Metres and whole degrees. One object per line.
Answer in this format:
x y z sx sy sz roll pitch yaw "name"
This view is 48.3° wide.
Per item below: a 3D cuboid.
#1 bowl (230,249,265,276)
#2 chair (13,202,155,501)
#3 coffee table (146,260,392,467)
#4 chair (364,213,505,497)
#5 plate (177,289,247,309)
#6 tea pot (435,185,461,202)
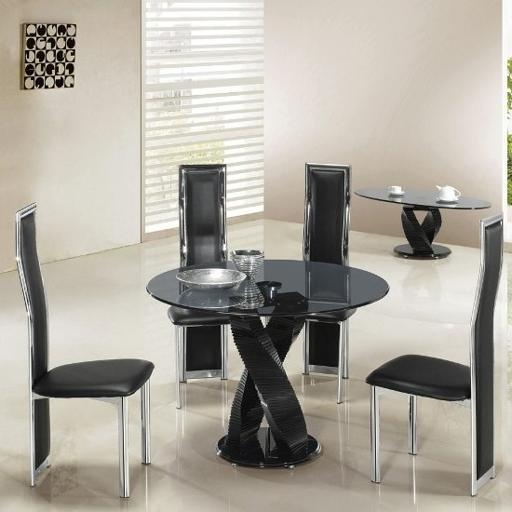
-0.028 0.028 2.246 0.112 0.081 0.111 0 1 0 "bowl"
-0.633 0.331 2.121 0.482 0.981 0.383 1 4 0 "chair"
0.041 0.465 2.413 0.988 0.718 1.033 0 -5 -36 "coffee table"
0.692 0.363 2.098 0.581 1.028 0.421 1 13 3 "chair"
-0.163 0.160 2.103 0.243 0.020 0.323 -1 13 -4 "plate"
1.955 -0.625 5.809 0.212 0.144 0.325 5 13 19 "tea pot"
